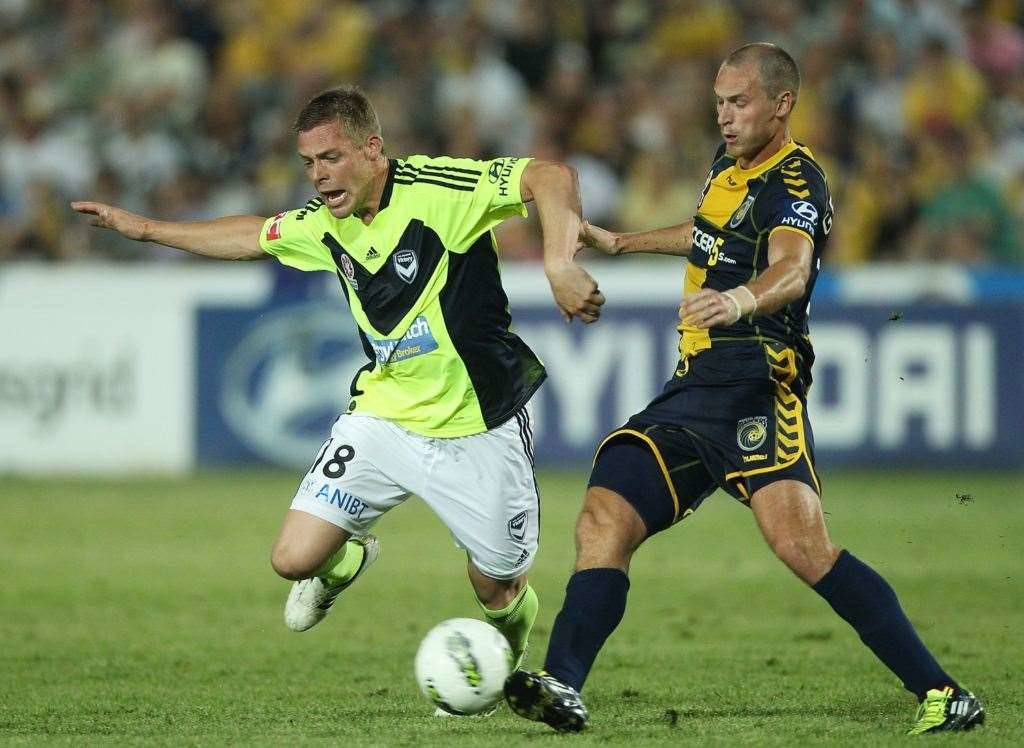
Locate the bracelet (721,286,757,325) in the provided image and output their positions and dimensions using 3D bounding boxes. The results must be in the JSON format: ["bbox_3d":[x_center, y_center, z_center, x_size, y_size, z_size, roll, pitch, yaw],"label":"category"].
[{"bbox_3d":[1.001,-0.317,6.509,0.141,0.147,0.057,-20,39,-8],"label":"bracelet"}]

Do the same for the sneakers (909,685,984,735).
[{"bbox_3d":[2.042,1.518,6.895,0.434,0.205,0.155,-9,-8,-36],"label":"sneakers"}]

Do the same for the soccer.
[{"bbox_3d":[-0.196,1.339,6.823,0.418,0.425,0.416,1,-21,-6],"label":"soccer"}]

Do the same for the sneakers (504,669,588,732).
[{"bbox_3d":[0.154,1.427,6.632,0.386,0.199,0.194,34,14,-3],"label":"sneakers"}]
